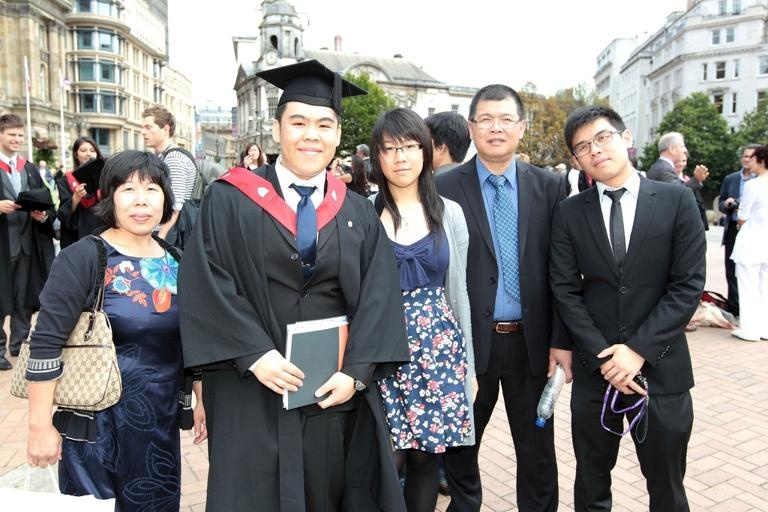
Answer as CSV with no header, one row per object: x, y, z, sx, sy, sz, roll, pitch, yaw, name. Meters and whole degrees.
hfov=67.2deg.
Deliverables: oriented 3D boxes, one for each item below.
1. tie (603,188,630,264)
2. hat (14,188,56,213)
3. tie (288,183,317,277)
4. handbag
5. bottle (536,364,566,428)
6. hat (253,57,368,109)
1.662,-0.210,4.161,0.159,0.550,0.172,3,9,12,tie
-4.193,-0.692,6.868,0.362,0.174,0.281,-7,-15,30,hat
-0.528,-0.168,3.808,0.174,0.595,0.243,0,8,-9,tie
-1.850,0.666,3.588,0.391,0.634,0.180,-1,9,-17,handbag
1.211,1.007,4.288,0.139,0.555,0.132,7,34,-4,bottle
-0.514,-1.225,4.027,0.738,0.244,0.616,-8,31,-39,hat
